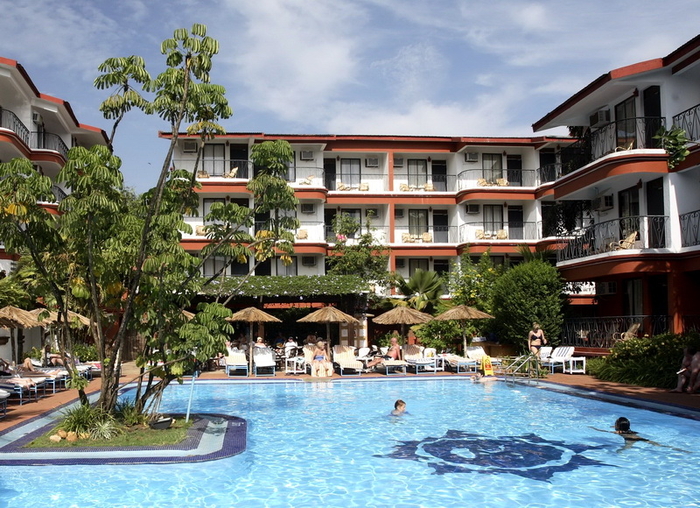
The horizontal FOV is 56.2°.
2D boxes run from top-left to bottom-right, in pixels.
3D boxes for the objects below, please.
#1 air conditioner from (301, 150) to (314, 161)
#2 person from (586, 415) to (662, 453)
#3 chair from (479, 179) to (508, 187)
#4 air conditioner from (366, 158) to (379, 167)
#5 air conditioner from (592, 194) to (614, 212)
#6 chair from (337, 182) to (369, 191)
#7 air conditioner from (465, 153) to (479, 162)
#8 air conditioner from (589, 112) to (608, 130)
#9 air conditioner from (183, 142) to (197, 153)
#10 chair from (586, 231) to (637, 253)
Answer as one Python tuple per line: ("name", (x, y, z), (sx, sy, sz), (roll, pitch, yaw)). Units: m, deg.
("air conditioner", (-2.849, -6.490, 43.151), (1.046, 0.869, 0.531), (1, -1, -8))
("person", (6.939, 4.493, 16.558), (1.341, 0.518, 1.369), (0, -3, -6))
("chair", (9.535, -4.696, 43.426), (1.831, 0.573, 1.131), (0, 0, 4))
("air conditioner", (1.501, -6.214, 44.476), (1.009, 0.710, 0.542), (0, -6, -6))
("air conditioner", (11.660, -2.280, 29.985), (0.597, 0.706, 1.110), (1, -2, -7))
("chair", (0.215, -4.453, 43.654), (2.074, 0.585, 0.995), (0, 0, -3))
("air conditioner", (8.274, -6.480, 44.559), (0.980, 0.718, 0.534), (1, -1, -2))
("air conditioner", (11.470, -6.161, 30.043), (0.395, 0.609, 1.270), (2, -4, 3))
("air conditioner", (-10.167, -6.801, 41.589), (0.913, 0.847, 0.497), (0, -7, -5))
("chair", (11.017, -0.463, 26.746), (1.239, 0.694, 0.484), (9, 36, 42))
